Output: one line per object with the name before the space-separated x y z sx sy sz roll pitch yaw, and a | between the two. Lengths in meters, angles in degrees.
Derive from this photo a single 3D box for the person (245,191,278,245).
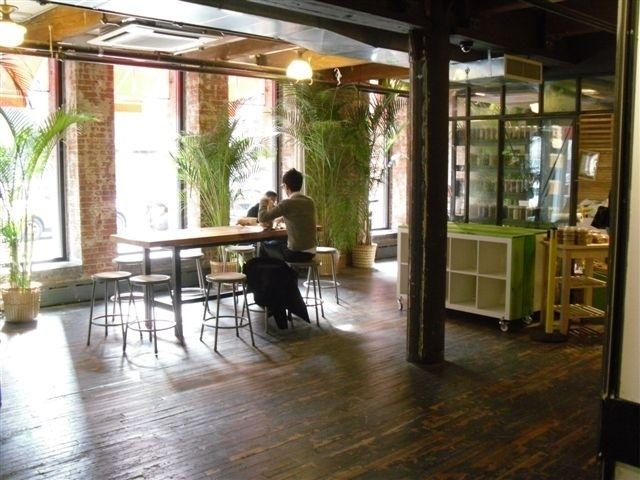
person | -0.917 -0.519 7.665 0.471 1.318 0.417 1 6 -8

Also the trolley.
trolley | 2.013 0.440 6.917 1.613 1.063 0.866 6 4 43

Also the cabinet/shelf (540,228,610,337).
cabinet/shelf | 3.197 0.571 6.288 0.880 1.061 0.773 -4 7 -25

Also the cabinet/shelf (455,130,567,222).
cabinet/shelf | 2.796 -1.203 8.102 1.276 1.127 0.429 -2 -1 -9
